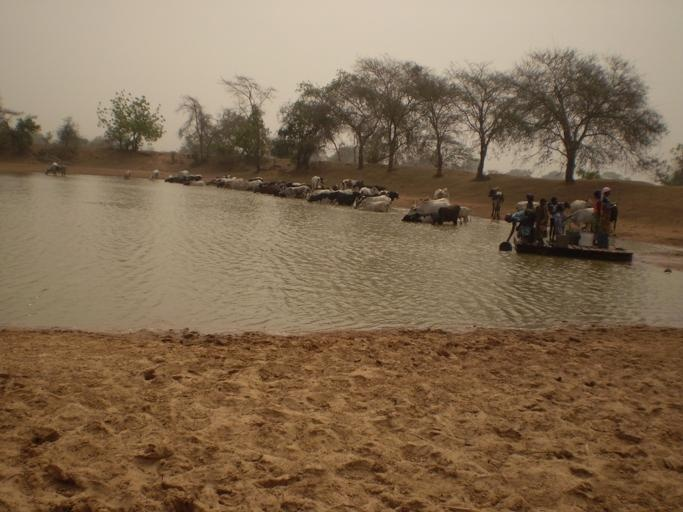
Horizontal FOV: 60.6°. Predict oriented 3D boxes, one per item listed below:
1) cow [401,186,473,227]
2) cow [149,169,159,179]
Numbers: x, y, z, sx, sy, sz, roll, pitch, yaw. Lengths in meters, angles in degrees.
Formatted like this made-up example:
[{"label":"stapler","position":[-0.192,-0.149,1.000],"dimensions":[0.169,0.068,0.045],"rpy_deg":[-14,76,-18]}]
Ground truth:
[{"label":"cow","position":[5.067,-2.325,31.015],"dimensions":[3.212,1.280,3.270],"rpy_deg":[6,14,9]},{"label":"cow","position":[-19.573,-8.486,61.485],"dimensions":[0.876,0.968,1.998],"rpy_deg":[-2,15,-20]}]
